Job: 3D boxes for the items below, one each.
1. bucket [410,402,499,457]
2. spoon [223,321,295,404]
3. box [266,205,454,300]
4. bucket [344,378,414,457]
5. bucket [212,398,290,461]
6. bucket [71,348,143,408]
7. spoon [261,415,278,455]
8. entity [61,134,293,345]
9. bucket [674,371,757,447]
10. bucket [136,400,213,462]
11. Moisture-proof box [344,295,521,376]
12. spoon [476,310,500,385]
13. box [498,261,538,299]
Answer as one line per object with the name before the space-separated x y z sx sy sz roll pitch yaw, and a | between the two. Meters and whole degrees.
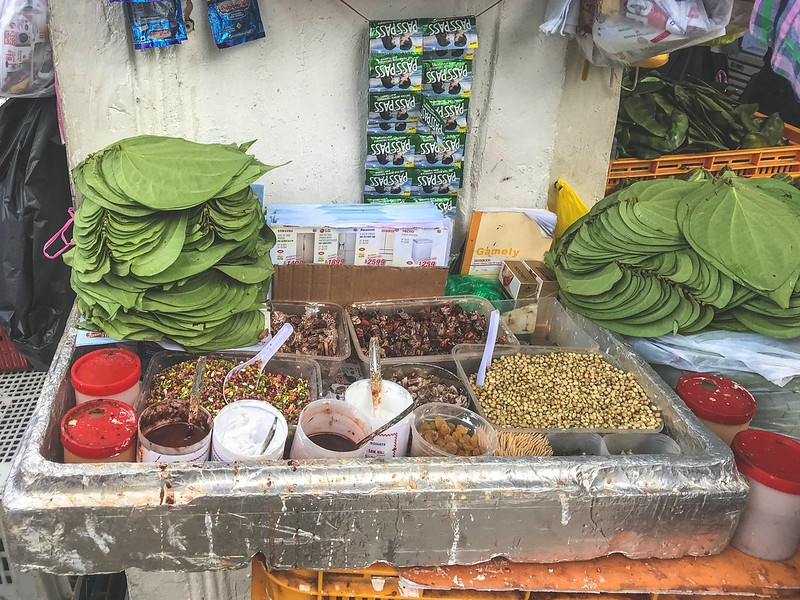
bucket | 0.172 0.449 2.086 0.216 0.128 0.207 9 32 -6
spoon | -0.487 0.197 2.224 0.137 0.399 0.056 39 9 -2
box | -0.182 -0.343 2.684 0.761 0.341 0.385 -1 58 -5
bucket | -0.062 0.393 2.105 0.240 0.256 0.237 1 28 0
bucket | -0.480 0.422 1.966 0.206 0.219 0.202 10 37 -8
bucket | -0.976 0.249 2.073 0.206 0.148 0.203 9 29 -5
spoon | -0.405 0.432 1.986 0.020 0.022 0.143 24 52 1
entity | -0.802 -0.180 2.146 0.776 0.269 0.775 -3 54 -6
bucket | 1.118 0.355 2.271 0.255 0.262 0.243 -1 36 1
bucket | -0.709 0.430 1.952 0.208 0.152 0.206 8 29 -5
Moisture-proof box | 0.064 0.126 2.551 0.555 0.137 0.333 -2 32 -8
spoon | 0.345 0.218 2.387 0.060 0.393 0.055 6 33 -6
box | 0.522 -0.081 2.792 0.080 0.109 0.220 -1 28 -19
